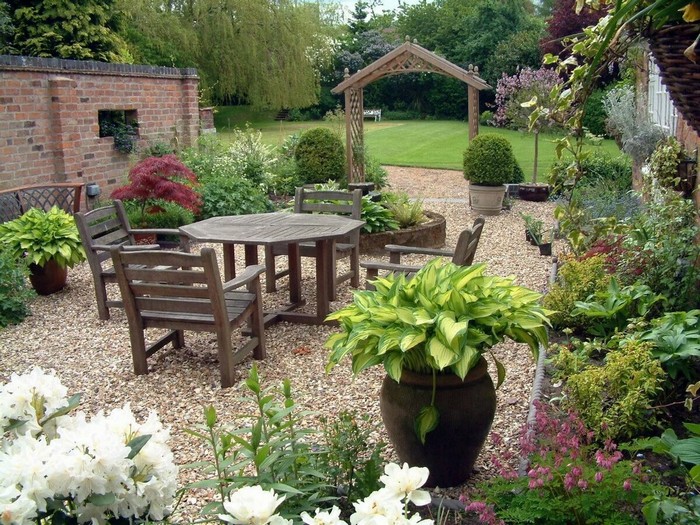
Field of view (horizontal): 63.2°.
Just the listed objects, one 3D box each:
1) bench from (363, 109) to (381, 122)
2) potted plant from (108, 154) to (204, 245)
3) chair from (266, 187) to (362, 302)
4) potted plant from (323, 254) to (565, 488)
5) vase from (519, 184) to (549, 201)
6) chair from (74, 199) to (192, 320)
[{"bbox_3d":[1.348,-8.341,32.249,1.024,0.602,2.127,0,16,2],"label":"bench"},{"bbox_3d":[-2.538,-1.050,7.394,0.943,0.652,0.856,-18,-2,5],"label":"potted plant"},{"bbox_3d":[-0.353,-0.220,5.926,0.850,1.068,0.840,4,9,10],"label":"chair"},{"bbox_3d":[0.418,0.589,2.855,0.978,0.986,1.071,-1,4,6],"label":"potted plant"},{"bbox_3d":[3.395,-1.282,10.414,0.402,0.261,0.405,-4,10,-24],"label":"vase"},{"bbox_3d":[-2.222,-0.294,5.800,0.999,0.800,0.825,-38,37,-26],"label":"chair"}]
